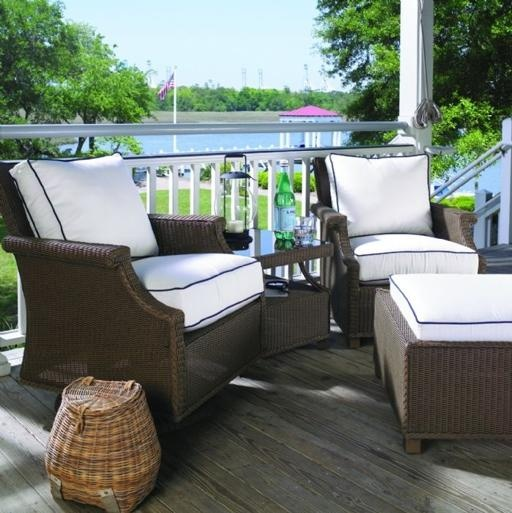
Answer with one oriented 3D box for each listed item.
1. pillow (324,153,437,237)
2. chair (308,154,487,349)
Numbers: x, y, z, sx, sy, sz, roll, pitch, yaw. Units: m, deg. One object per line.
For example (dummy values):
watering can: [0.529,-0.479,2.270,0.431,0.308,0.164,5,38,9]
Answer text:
pillow: [0.654,-0.325,2.985,0.710,0.428,0.247,-8,-9,-33]
chair: [0.851,-0.133,2.981,0.976,0.902,1.042,-2,9,-11]
